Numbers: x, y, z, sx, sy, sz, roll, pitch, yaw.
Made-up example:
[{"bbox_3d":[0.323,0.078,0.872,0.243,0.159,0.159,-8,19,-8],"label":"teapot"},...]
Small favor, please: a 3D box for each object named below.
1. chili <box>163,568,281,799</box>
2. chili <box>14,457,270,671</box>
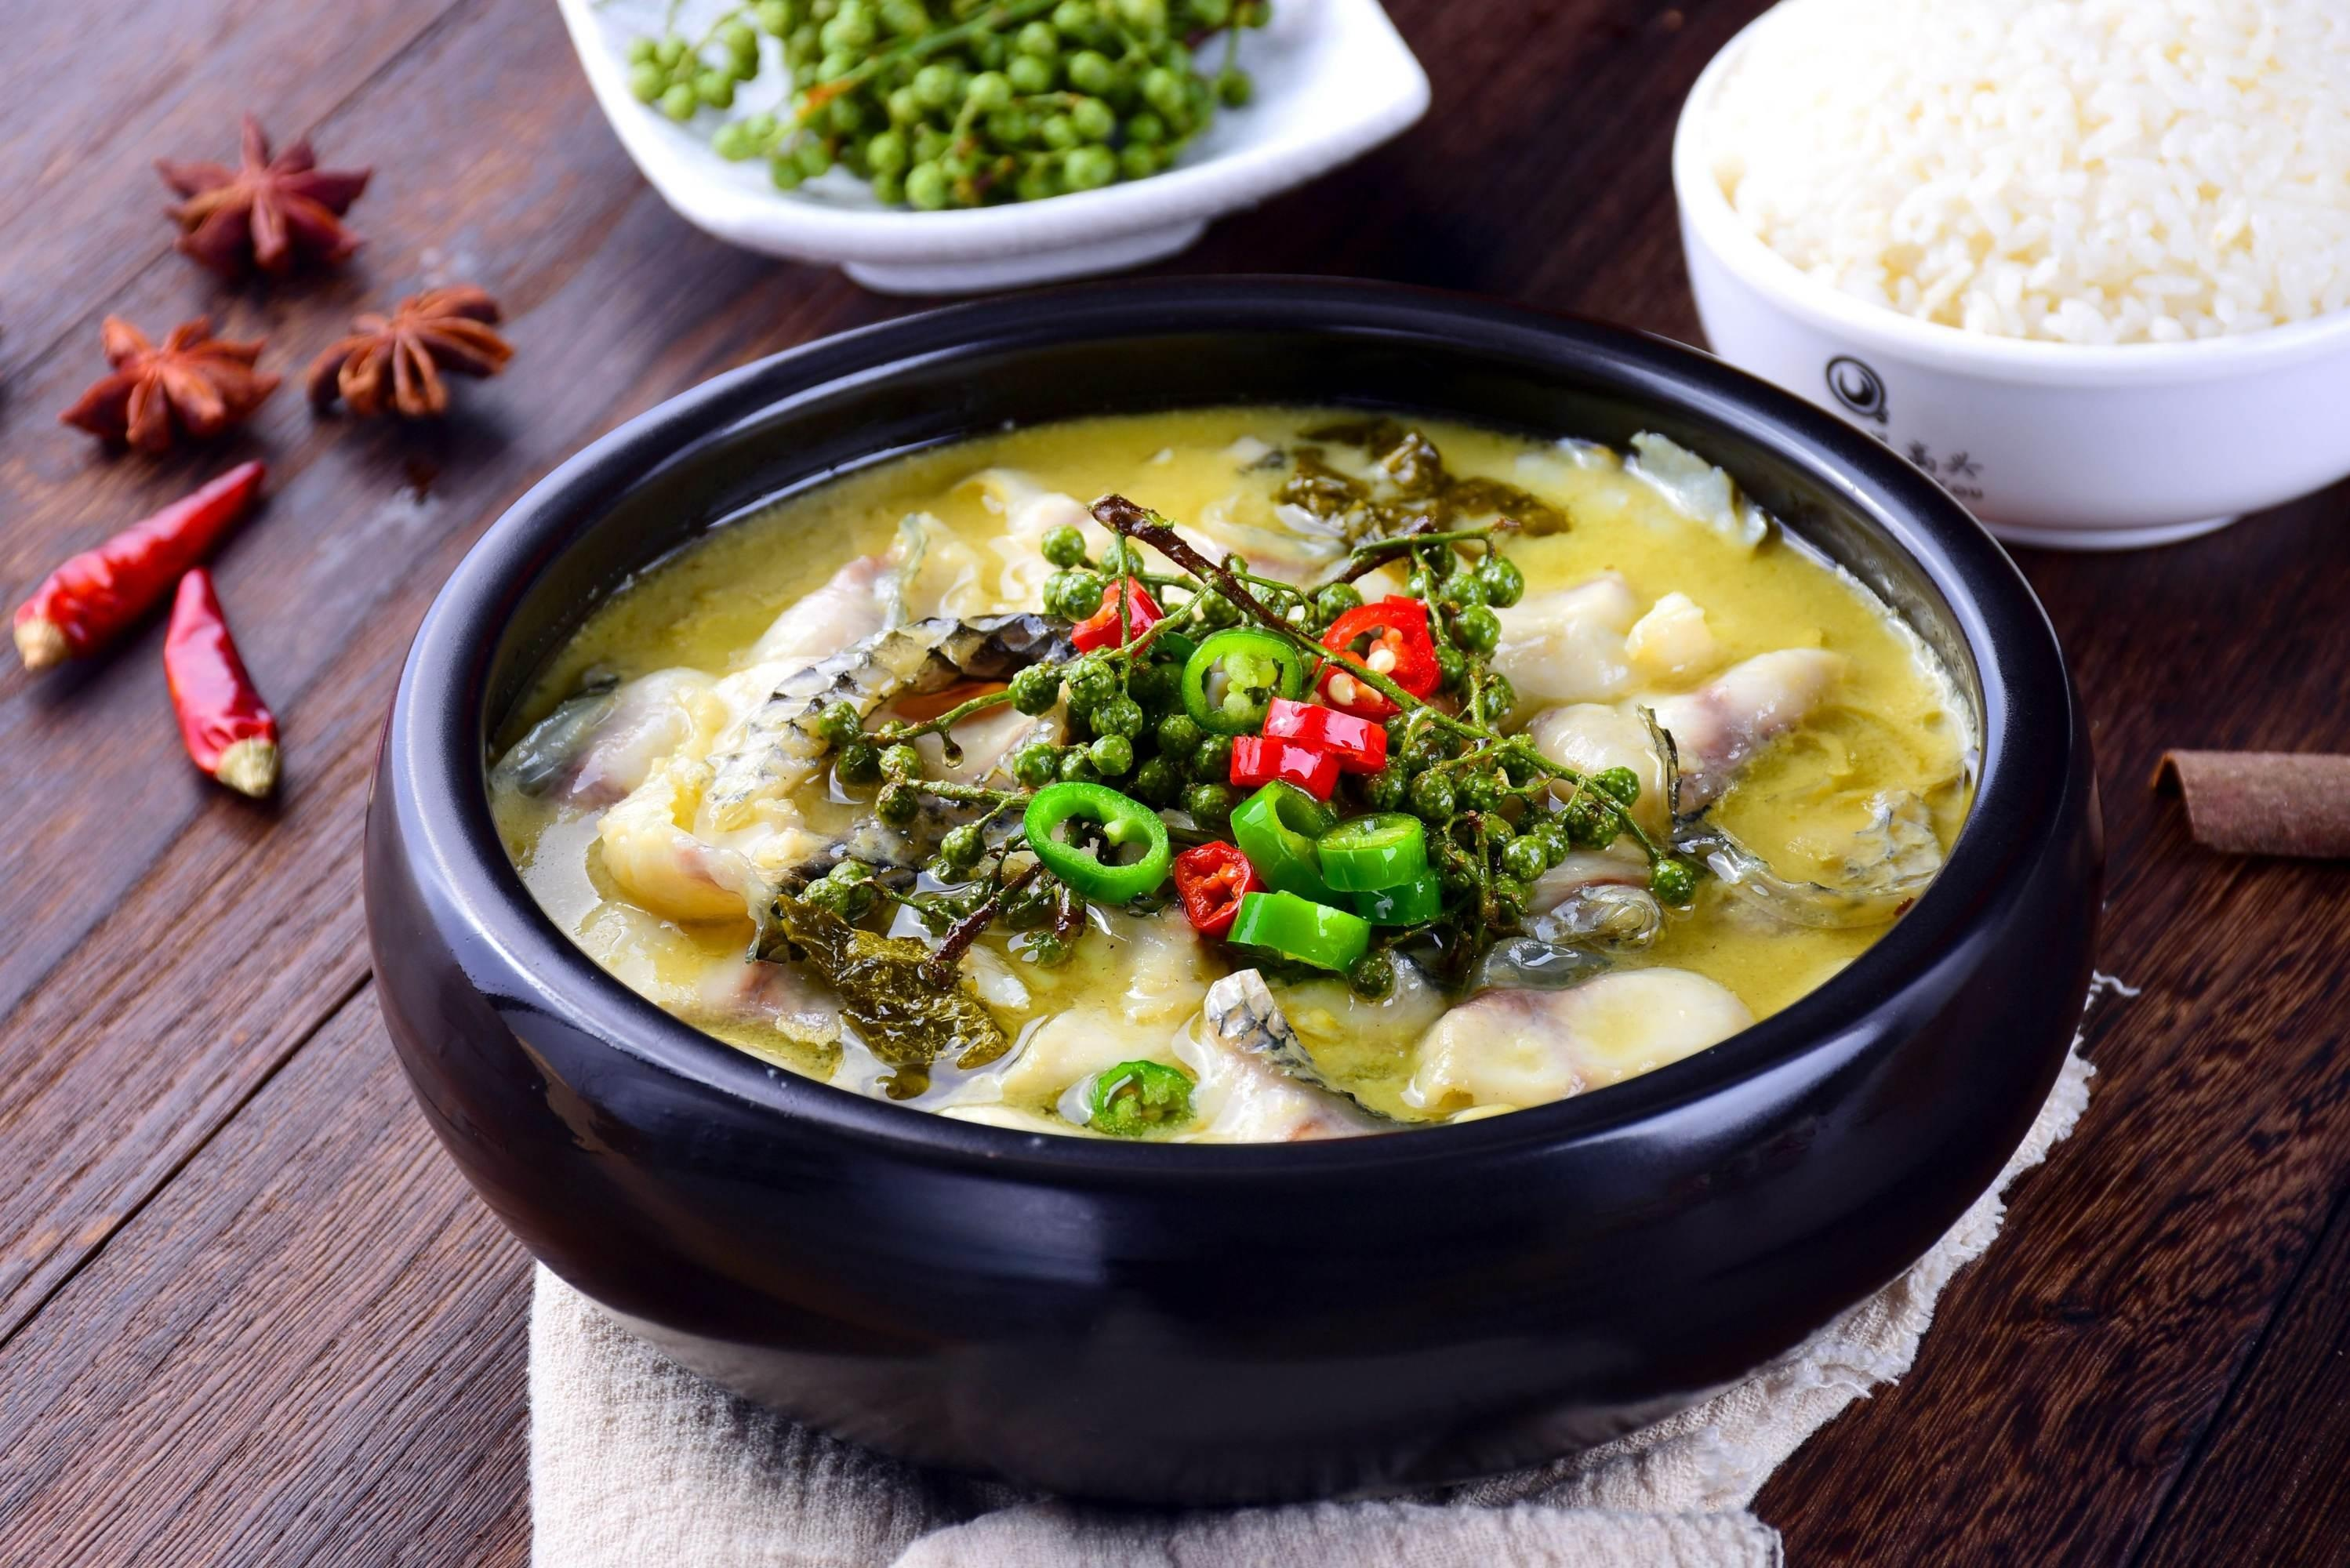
[{"bbox_3d":[-1.487,-0.164,3.328,0.133,0.080,0.455,-16,65,-20],"label":"chili"},{"bbox_3d":[-1.606,-0.340,3.539,0.558,0.163,0.152,-35,61,-30],"label":"chili"}]
